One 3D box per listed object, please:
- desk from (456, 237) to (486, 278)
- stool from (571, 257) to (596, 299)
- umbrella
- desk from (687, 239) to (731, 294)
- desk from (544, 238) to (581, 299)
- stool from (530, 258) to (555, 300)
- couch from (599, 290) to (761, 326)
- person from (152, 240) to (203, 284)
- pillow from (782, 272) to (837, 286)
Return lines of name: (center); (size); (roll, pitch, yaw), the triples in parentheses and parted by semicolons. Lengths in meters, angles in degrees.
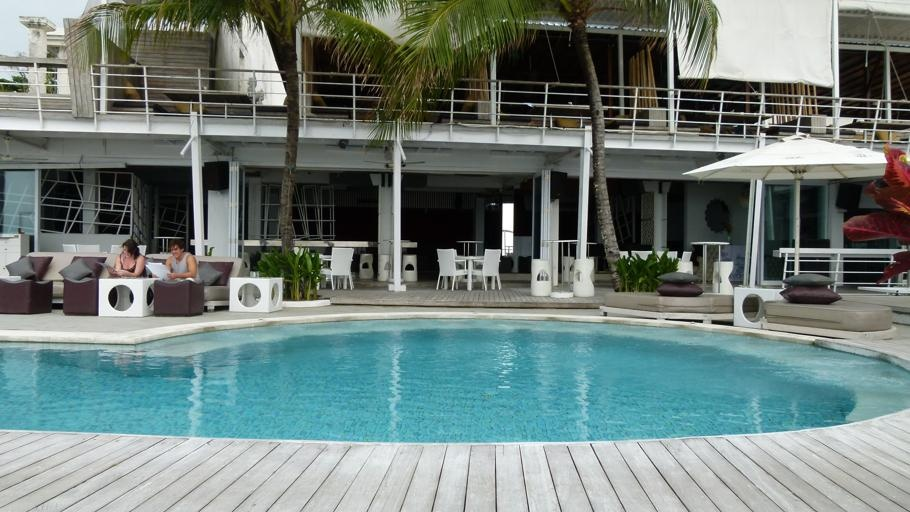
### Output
desk: (0.566, -0.003, 23.257); (1.171, 1.298, 1.621); (0, 0, -15)
stool: (3.148, 0.535, 18.534); (0.498, 0.921, 0.447); (0, 1, 1)
umbrella: (6.959, -1.084, 15.510); (3.319, 2.824, 1.976); (0, 1, 25)
desk: (6.942, 0.296, 20.040); (1.318, 1.333, 1.341); (3, 1, 44)
desk: (2.825, 0.419, 20.559); (1.084, 1.491, 1.005); (-7, 5, 13)
stool: (2.120, 0.552, 18.472); (0.486, 0.872, 0.453); (0, 1, 1)
couch: (4.441, 1.078, 15.765); (2.586, 0.549, 0.574); (0, 1, 18)
person: (-5.932, 0.173, 16.080); (0.849, 0.966, 0.939); (-3, 12, 12)
pillow: (6.990, 0.477, 14.789); (0.796, 0.233, 0.722); (0, 1, 35)
